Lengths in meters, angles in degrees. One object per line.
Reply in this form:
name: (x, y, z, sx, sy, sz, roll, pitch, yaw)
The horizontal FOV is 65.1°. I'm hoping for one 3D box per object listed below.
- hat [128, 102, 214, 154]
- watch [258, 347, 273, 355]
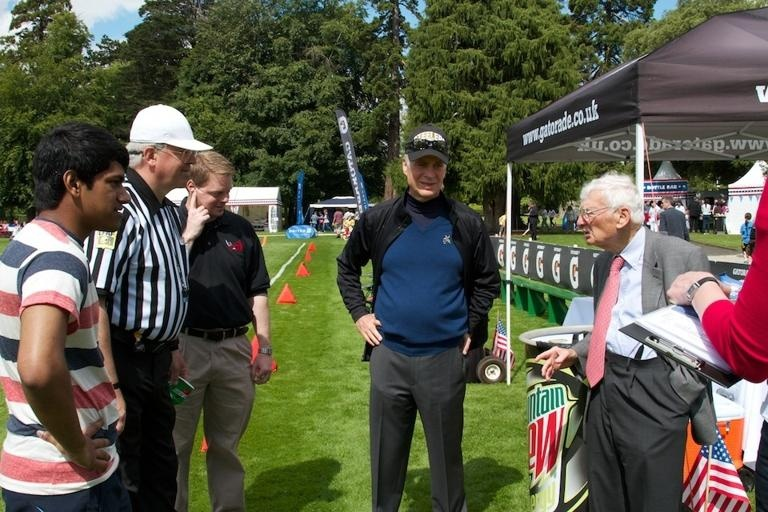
hat: (-1.408, -0.824, 3.929, 0.420, 0.236, 0.295, 8, 18, -8)
watch: (-0.918, 0.737, 4.682, 0.067, 0.039, 0.069, 2, 2, 3)
